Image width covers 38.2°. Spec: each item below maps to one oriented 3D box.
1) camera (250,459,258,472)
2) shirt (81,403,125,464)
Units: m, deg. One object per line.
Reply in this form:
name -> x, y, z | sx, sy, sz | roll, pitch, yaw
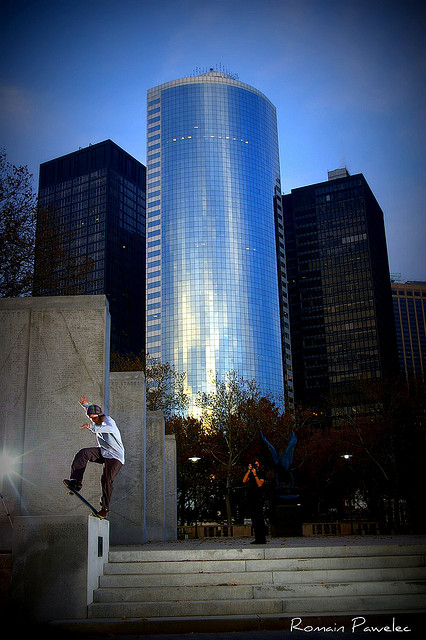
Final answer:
camera -> 0.874, 3.098, 13.085 | 0.162, 0.248, 0.086 | -5, -10, 14
shirt -> -1.659, 1.710, 9.359 | 0.583, 0.924, 0.371 | 1, -13, -13
